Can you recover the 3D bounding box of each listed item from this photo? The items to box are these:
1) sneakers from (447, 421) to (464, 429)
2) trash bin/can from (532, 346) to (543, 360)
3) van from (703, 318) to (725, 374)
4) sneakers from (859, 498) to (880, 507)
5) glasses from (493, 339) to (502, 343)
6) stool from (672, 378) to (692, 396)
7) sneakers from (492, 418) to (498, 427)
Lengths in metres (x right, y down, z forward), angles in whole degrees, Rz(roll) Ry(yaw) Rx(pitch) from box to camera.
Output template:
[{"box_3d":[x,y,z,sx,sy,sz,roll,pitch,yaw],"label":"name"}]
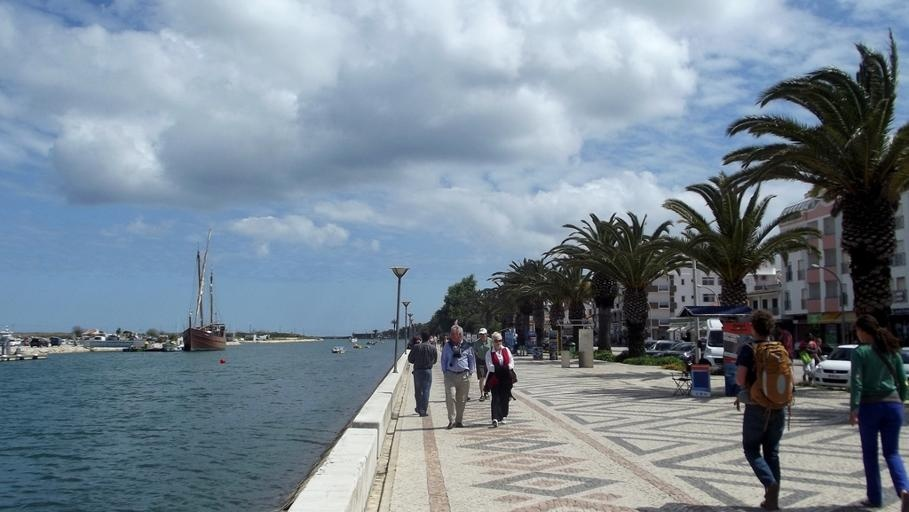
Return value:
[{"box_3d":[0.055,4.920,17.767,0.167,0.207,0.524,-10,-33,29],"label":"sneakers"},{"box_3d":[6.778,7.621,48.123,1.057,1.033,1.017,0,-7,-3],"label":"trash bin/can"},{"box_3d":[13.749,4.695,32.483,0.865,2.868,0.866,-2,-10,16],"label":"van"},{"box_3d":[8.265,4.905,12.164,0.284,0.112,0.113,-2,-5,32],"label":"sneakers"},{"box_3d":[1.267,2.470,17.882,0.187,0.079,0.115,3,-10,-15],"label":"glasses"},{"box_3d":[9.283,5.315,24.871,0.822,0.750,0.582,0,-15,2],"label":"stool"},{"box_3d":[1.215,4.836,17.748,0.185,0.224,0.137,-1,-10,9],"label":"sneakers"}]
